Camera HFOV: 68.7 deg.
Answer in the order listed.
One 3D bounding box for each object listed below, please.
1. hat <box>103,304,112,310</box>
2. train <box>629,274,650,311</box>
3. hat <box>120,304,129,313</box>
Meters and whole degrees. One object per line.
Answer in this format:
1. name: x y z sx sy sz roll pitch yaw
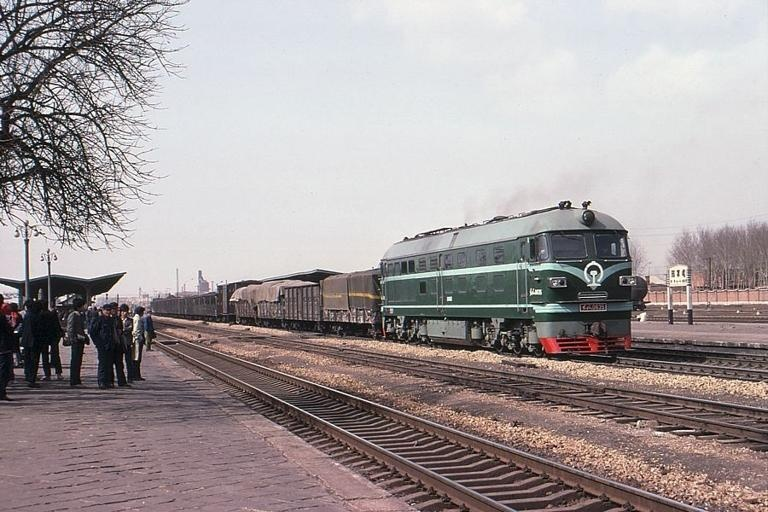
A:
1. hat: -7.389 1.339 15.136 0.178 0.162 0.385 1 -5 -27
2. train: 23.173 2.928 52.787 2.442 2.696 5.389 0 3 24
3. hat: -8.427 1.676 18.343 0.274 0.337 0.355 2 -14 -31
